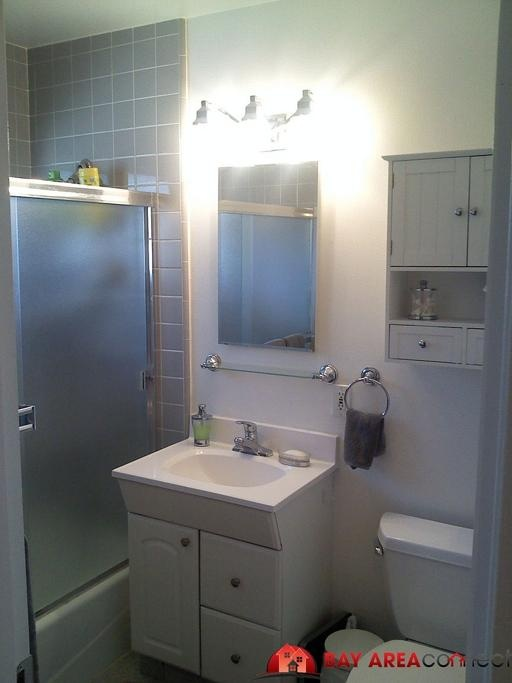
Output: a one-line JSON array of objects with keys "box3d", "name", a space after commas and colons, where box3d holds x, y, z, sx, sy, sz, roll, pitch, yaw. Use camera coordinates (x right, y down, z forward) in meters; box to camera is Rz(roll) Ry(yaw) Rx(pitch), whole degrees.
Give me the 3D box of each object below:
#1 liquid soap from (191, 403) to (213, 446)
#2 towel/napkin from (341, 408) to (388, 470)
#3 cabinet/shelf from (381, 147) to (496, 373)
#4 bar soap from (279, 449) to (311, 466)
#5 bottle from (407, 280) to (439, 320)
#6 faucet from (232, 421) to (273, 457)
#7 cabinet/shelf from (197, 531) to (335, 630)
[{"box3d": [-0.235, 0.359, 2.385, 0.082, 0.174, 0.081, -5, 10, -37], "name": "liquid soap"}, {"box3d": [0.400, 0.358, 2.050, 0.129, 0.211, 0.096, 10, 15, 23], "name": "towel/napkin"}, {"box3d": [0.595, -0.269, 1.812, 0.318, 0.673, 0.249, 2, 9, 26], "name": "cabinet/shelf"}, {"box3d": [0.146, 0.452, 2.153, 0.076, 0.033, 0.064, 4, 6, 31], "name": "bar soap"}, {"box3d": [0.562, -0.136, 1.843, 0.105, 0.168, 0.115, 0, 1, 0], "name": "bottle"}, {"box3d": [0.005, 0.408, 2.314, 0.220, 0.180, 0.081, 1, 0, 43], "name": "faucet"}, {"box3d": [-0.065, 0.865, 2.025, 0.347, 0.218, 0.384, 0, -6, 19], "name": "cabinet/shelf"}]
